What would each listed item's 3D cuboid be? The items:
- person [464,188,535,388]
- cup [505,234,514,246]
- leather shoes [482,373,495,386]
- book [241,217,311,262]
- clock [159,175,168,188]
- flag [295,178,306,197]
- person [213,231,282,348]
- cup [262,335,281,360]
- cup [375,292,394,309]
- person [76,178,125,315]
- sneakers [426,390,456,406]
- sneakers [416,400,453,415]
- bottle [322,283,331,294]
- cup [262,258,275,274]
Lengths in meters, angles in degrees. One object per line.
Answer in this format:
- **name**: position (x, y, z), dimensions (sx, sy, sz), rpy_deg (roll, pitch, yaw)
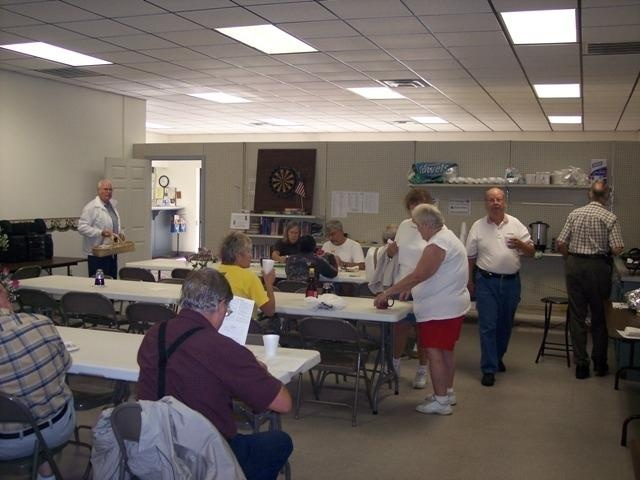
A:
- **person**: position (1.974, 0.503, 5.517), dimensions (0.687, 2.144, 0.533), rpy_deg (2, 4, 18)
- **cup**: position (2.088, 0.008, 5.478), dimensions (0.078, 0.137, 0.070), rpy_deg (2, 4, 15)
- **leather shoes**: position (1.834, 1.525, 5.400), dimensions (0.140, 0.122, 0.154), rpy_deg (2, 4, 16)
- **book**: position (-0.666, -0.028, 7.763), dimensions (0.739, 0.720, 0.226), rpy_deg (-2, -5, 22)
- **clock**: position (-5.009, -1.894, 15.927), dimensions (0.099, 0.406, 0.410), rpy_deg (4, 5, 34)
- **flag**: position (-0.372, -0.960, 9.257), dimensions (0.190, 0.327, 0.051), rpy_deg (0, 4, -8)
- **person**: position (-0.712, 0.557, 4.330), dimensions (0.596, 1.189, 0.562), rpy_deg (8, 11, 20)
- **cup**: position (-0.307, 0.704, 3.260), dimensions (0.127, 0.140, 0.130), rpy_deg (0, 2, 0)
- **cup**: position (0.602, 0.552, 4.544), dimensions (0.181, 0.074, 0.126), rpy_deg (-5, 5, -36)
- **person**: position (-3.473, 0.135, 8.109), dimensions (0.676, 2.182, 0.796), rpy_deg (6, 15, 5)
- **sneakers**: position (1.204, 1.541, 4.880), dimensions (0.348, 0.157, 0.128), rpy_deg (1, 1, 16)
- **sneakers**: position (1.068, 1.559, 4.644), dimensions (0.336, 0.153, 0.136), rpy_deg (1, 0, 12)
- **bottle**: position (0.084, 0.474, 4.905), dimensions (0.068, 0.107, 0.109), rpy_deg (-1, -2, 28)
- **cup**: position (-0.481, 0.250, 4.783), dimensions (0.124, 0.144, 0.128), rpy_deg (0, 0, 0)
